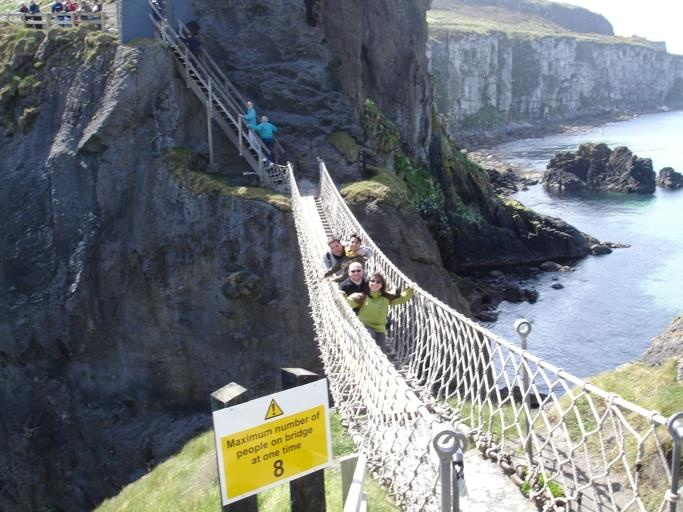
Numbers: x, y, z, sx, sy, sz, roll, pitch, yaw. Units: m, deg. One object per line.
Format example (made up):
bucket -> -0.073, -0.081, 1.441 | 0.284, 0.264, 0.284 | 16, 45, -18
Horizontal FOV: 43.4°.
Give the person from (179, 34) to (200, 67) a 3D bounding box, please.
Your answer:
person -> -4.235, -5.790, 24.311 | 0.530, 0.945, 2.006 | -5, 13, -8
